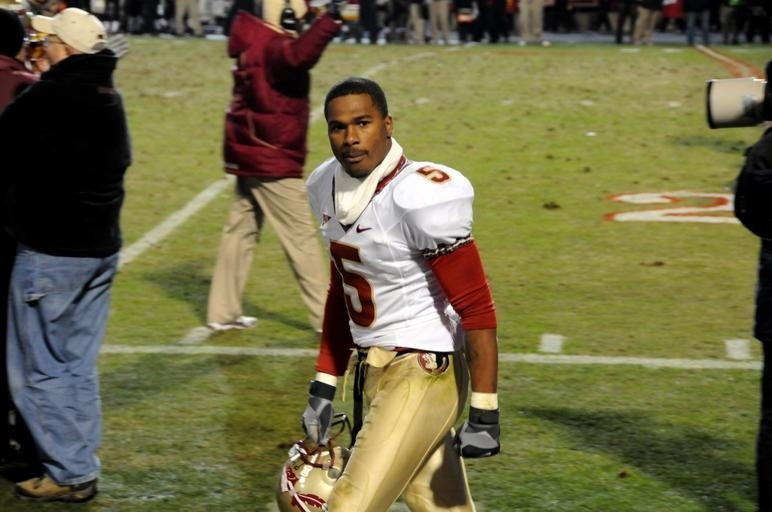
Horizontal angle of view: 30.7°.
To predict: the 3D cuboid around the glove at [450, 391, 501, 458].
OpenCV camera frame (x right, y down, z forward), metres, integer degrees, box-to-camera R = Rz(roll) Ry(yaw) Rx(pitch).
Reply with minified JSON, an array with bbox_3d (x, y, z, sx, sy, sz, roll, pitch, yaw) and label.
[{"bbox_3d":[0.496,0.910,7.527,0.231,0.350,0.139,4,10,2],"label":"glove"}]
